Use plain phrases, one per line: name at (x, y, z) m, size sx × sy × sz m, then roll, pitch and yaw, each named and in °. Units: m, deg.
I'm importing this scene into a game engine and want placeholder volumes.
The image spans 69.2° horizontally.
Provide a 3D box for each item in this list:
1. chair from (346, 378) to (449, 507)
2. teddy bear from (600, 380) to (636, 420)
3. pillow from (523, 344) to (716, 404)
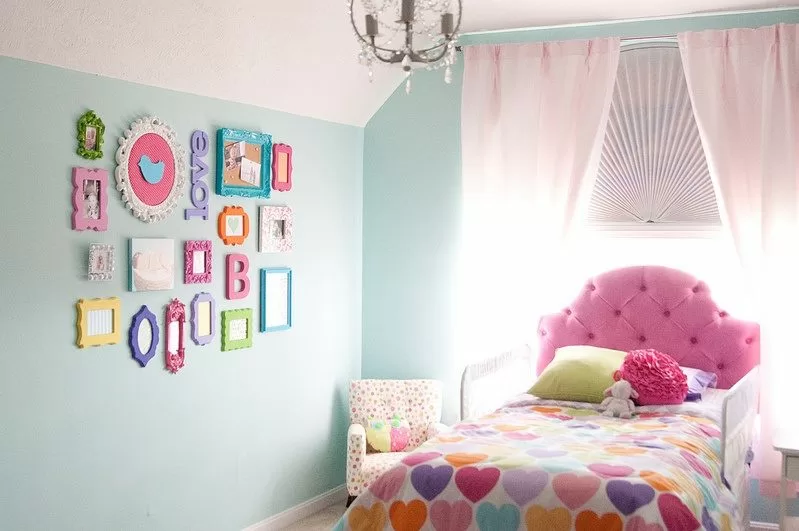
chair at (-0.062, 1.320, 4.411) m, size 0.826 × 1.060 × 0.860 m, roll 0°, pitch -15°, yaw 1°
teddy bear at (1.271, 0.779, 3.400) m, size 0.220 × 0.258 × 0.189 m, roll 4°, pitch -17°, yaw 25°
pillow at (1.272, 0.675, 3.460) m, size 0.602 × 0.173 × 0.531 m, roll -3°, pitch 6°, yaw 6°
